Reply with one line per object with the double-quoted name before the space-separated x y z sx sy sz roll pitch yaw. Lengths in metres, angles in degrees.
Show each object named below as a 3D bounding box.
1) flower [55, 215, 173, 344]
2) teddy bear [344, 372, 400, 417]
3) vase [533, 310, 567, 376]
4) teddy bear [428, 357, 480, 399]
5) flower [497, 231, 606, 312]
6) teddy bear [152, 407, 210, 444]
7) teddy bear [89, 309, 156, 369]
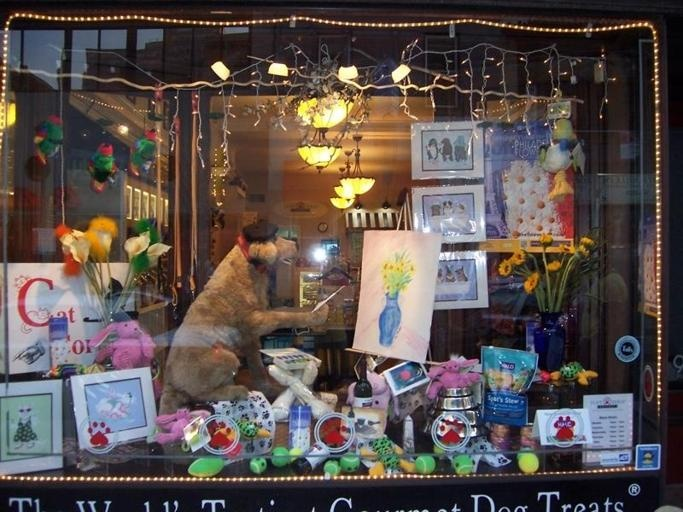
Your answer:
"flower" -1.483 0.113 4.746 0.532 0.579 0.469 3 3 44
"teddy bear" 0.191 0.840 4.629 0.309 0.297 0.202 -9 -18 19
"vase" 1.290 0.529 4.763 0.185 0.338 0.145 -1 0 15
"teddy bear" 0.682 0.745 4.639 0.318 0.245 0.181 -1 1 10
"flower" 1.346 0.103 4.957 0.554 0.495 0.518 -7 2 -8
"teddy bear" -0.972 1.006 4.569 0.180 0.111 0.242 -20 7 31
"teddy bear" -1.305 0.517 4.684 0.246 0.422 0.400 -2 -6 41
